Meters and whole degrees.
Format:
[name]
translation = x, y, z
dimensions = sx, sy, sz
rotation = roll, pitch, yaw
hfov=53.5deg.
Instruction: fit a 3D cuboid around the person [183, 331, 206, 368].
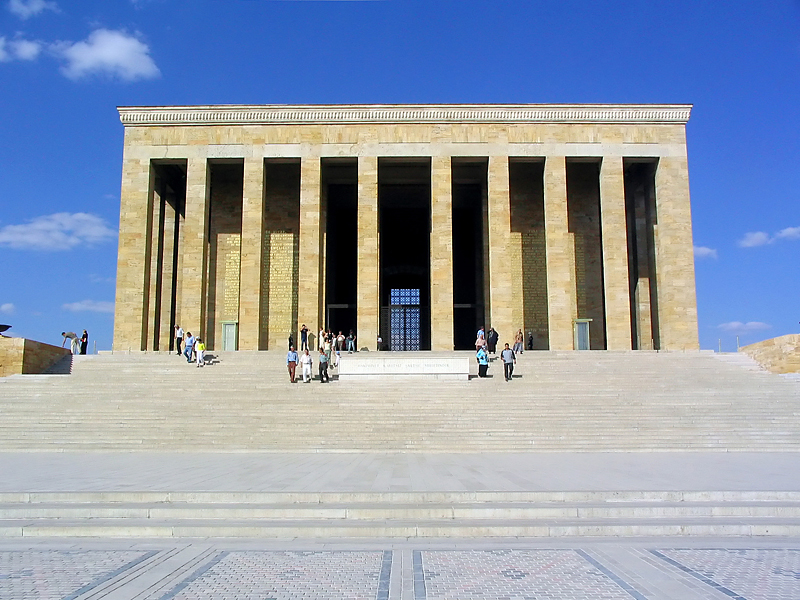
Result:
[person]
translation = -6.272, 1.523, 24.228
dimensions = 0.466, 0.985, 0.656
rotation = 4, -25, -16
